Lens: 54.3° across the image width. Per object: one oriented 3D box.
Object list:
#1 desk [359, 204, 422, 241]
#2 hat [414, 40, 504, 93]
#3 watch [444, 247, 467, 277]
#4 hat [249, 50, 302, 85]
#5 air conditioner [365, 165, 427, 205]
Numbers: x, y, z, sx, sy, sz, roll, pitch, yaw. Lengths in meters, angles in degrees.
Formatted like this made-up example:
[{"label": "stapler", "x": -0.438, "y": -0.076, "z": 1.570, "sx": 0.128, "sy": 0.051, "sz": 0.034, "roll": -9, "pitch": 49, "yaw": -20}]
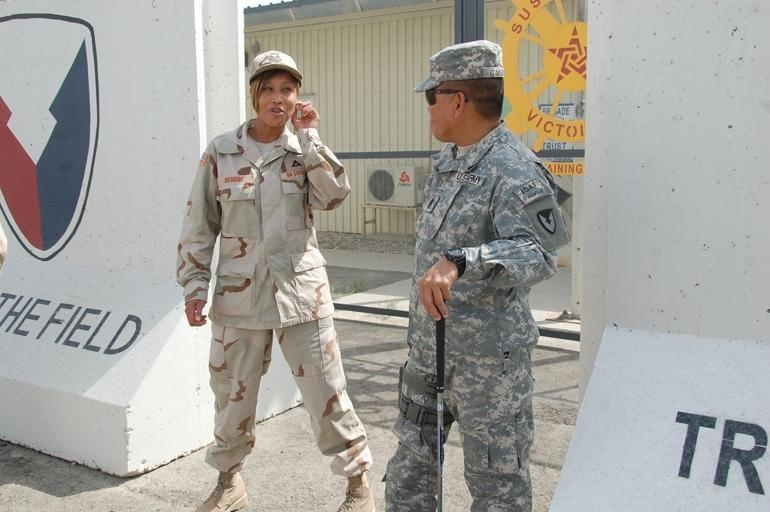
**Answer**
[{"label": "desk", "x": 0.062, "y": -0.591, "z": 12.806, "sx": 0.859, "sy": 0.619, "sz": 0.354, "roll": 8, "pitch": 12, "yaw": 31}, {"label": "hat", "x": 0.380, "y": -0.923, "z": 3.712, "sx": 0.327, "sy": 0.191, "sz": 0.259, "roll": -3, "pitch": 13, "yaw": 14}, {"label": "watch", "x": 0.326, "y": 0.021, "z": 3.432, "sx": 0.079, "sy": 0.123, "sz": 0.118, "roll": -15, "pitch": 21, "yaw": -15}, {"label": "hat", "x": -0.630, "y": -1.086, "z": 4.317, "sx": 0.289, "sy": 0.205, "sz": 0.315, "roll": 2, "pitch": 9, "yaw": -17}, {"label": "air conditioner", "x": 0.195, "y": -1.181, "z": 12.666, "sx": 0.966, "sy": 0.697, "sz": 0.549, "roll": 4, "pitch": 5, "yaw": 27}]
